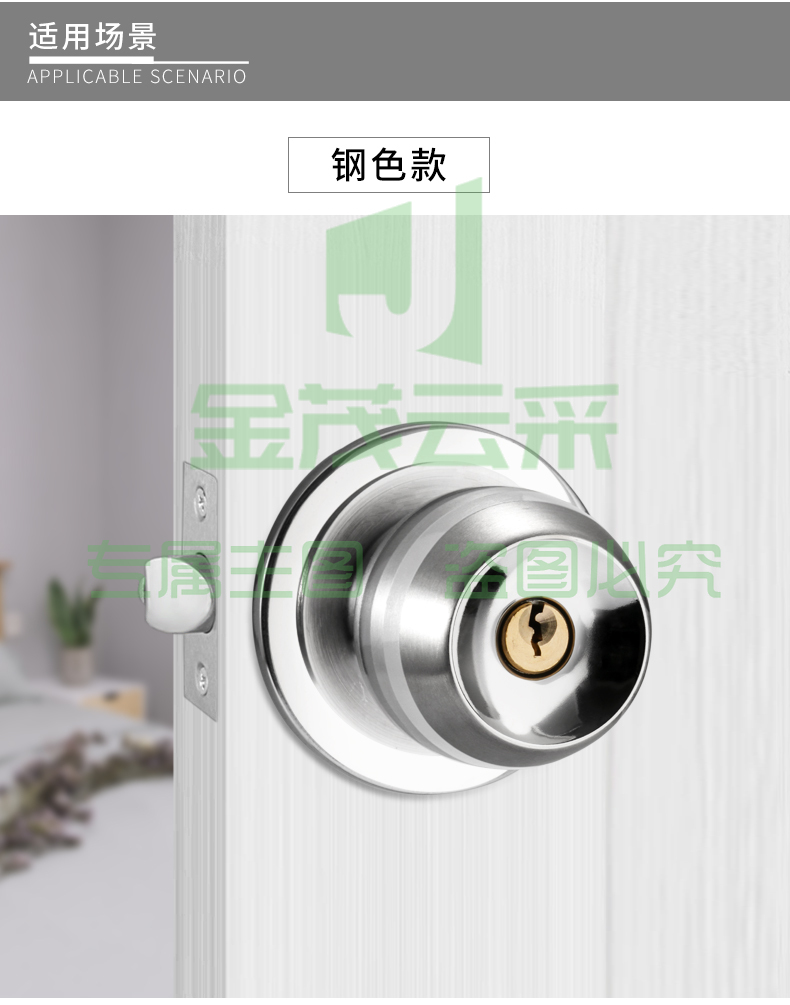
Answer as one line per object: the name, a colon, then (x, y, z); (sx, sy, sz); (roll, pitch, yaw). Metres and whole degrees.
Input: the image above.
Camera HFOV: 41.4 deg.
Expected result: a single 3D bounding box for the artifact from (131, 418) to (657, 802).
artifact: (0.007, 0.020, 0.203); (0.100, 0.033, 0.079); (19, 83, -24)
